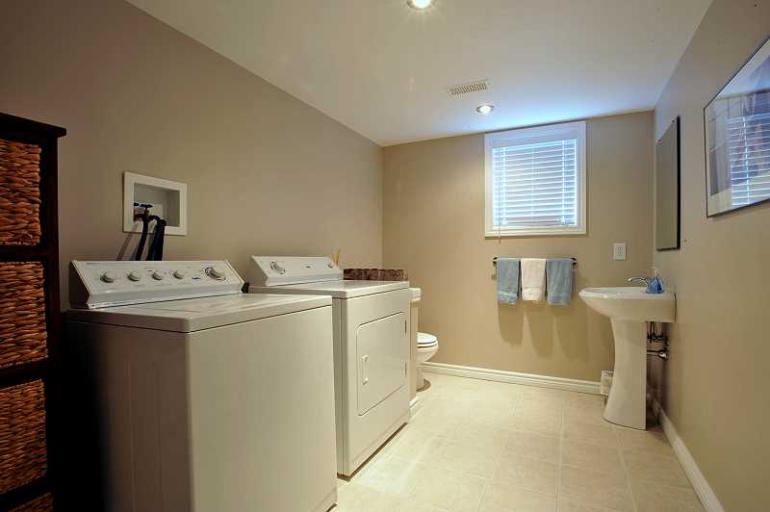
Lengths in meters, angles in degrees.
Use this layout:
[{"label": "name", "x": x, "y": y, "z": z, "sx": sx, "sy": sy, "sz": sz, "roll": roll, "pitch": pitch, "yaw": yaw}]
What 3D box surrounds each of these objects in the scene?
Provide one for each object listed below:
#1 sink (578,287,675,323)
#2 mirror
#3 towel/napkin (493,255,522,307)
[{"label": "sink", "x": 1.833, "y": 0.355, "z": 3.681, "sx": 0.603, "sy": 0.252, "sz": 0.615, "roll": 2, "pitch": 8, "yaw": 14}, {"label": "mirror", "x": 2.115, "y": -0.539, "z": 3.535, "sx": 0.076, "sy": 1.106, "sz": 1.067, "roll": 2, "pitch": 7, "yaw": 26}, {"label": "towel/napkin", "x": 1.167, "y": 0.227, "z": 4.471, "sx": 0.217, "sy": 0.423, "sz": 0.047, "roll": 3, "pitch": 2, "yaw": 37}]
